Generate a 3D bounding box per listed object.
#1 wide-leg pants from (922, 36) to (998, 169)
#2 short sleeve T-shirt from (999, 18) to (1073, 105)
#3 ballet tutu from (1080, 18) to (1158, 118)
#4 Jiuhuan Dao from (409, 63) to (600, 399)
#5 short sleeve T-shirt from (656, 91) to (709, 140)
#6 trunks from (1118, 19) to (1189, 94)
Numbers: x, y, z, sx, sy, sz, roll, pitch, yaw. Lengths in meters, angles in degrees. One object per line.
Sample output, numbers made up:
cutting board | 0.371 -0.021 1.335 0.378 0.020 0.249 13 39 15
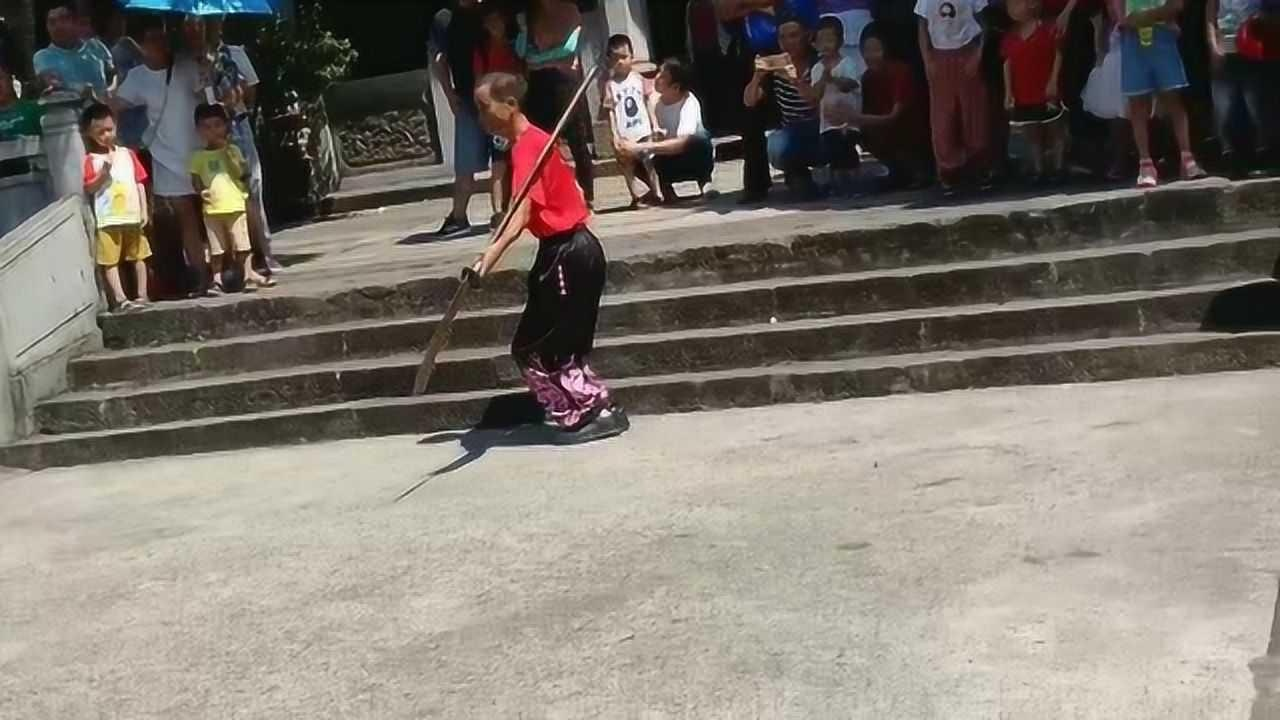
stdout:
wide-leg pants | 2.767 -2.184 13.535 0.472 1.149 0.445 -3 6 7
short sleeve T-shirt | 3.353 -2.528 13.239 0.612 0.935 0.353 -7 9 30
ballet tutu | 3.889 -2.394 13.080 0.265 0.690 0.375 2 1 40
Jiuhuan Dao | -1.026 -0.758 11.704 1.225 2.795 1.140 -3 10 12
short sleeve T-shirt | 0.367 -2.268 14.575 0.258 0.430 0.437 -23 26 -23
trunks | 4.148 -2.466 12.753 0.578 0.584 0.325 -6 3 19
